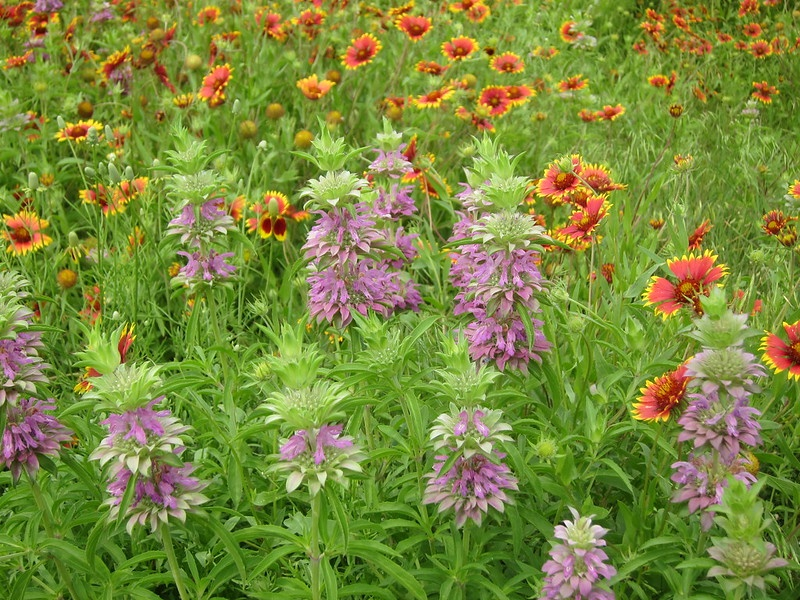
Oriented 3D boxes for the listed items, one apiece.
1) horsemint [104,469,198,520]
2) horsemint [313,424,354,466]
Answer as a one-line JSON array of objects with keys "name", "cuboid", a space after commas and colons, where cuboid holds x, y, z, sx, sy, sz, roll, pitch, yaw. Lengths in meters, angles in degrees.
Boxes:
[{"name": "horsemint", "cuboid": [-0.994, 0.758, 3.034, 0.383, 0.189, 0.226, -5, 22, -17]}, {"name": "horsemint", "cuboid": [-0.275, 0.542, 2.911, 0.167, 0.123, 0.156, -10, 24, -28]}]
